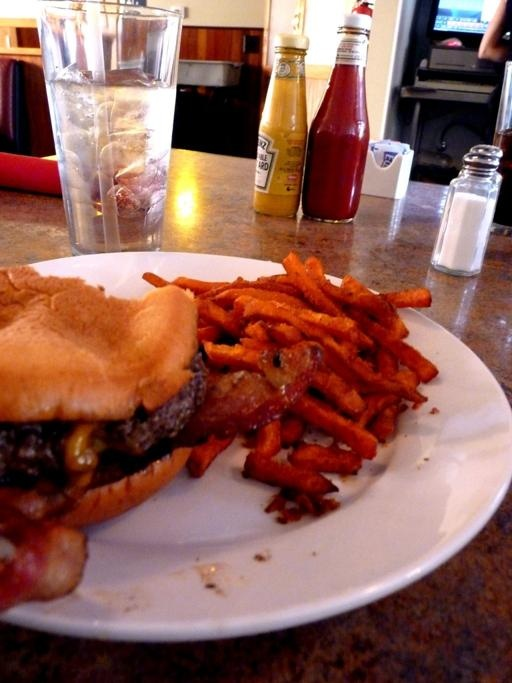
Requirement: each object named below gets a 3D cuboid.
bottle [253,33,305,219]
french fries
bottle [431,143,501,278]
[{"bbox_3d":[0.084,-0.557,1.578,0.144,0.446,0.135,2,27,-1],"label":"bottle"},{"bbox_3d":[0.032,-0.017,0.801,0.442,0.297,0.306,-4,17,-8],"label":"french fries"},{"bbox_3d":[0.432,-0.289,1.404,0.141,0.301,0.169,12,28,13],"label":"bottle"}]
